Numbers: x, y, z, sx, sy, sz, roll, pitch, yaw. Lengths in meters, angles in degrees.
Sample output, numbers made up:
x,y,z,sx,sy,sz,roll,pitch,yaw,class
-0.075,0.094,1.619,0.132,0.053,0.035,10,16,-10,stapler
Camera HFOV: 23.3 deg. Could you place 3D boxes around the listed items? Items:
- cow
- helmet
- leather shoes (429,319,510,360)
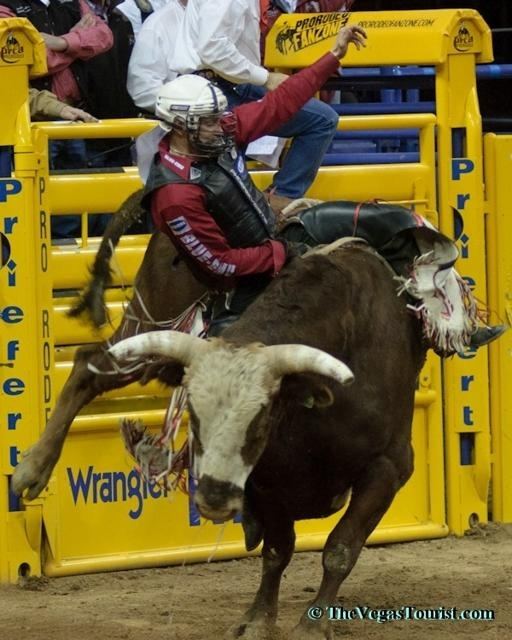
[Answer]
x,y,z,sx,sy,sz,roll,pitch,yaw,class
-0.235,0.451,5.042,1.614,1.883,1.477,2,4,14,cow
-0.249,-0.890,5.237,0.343,0.248,0.255,14,20,28,helmet
1.015,0.089,5.964,0.361,0.143,0.114,-24,22,-26,leather shoes
